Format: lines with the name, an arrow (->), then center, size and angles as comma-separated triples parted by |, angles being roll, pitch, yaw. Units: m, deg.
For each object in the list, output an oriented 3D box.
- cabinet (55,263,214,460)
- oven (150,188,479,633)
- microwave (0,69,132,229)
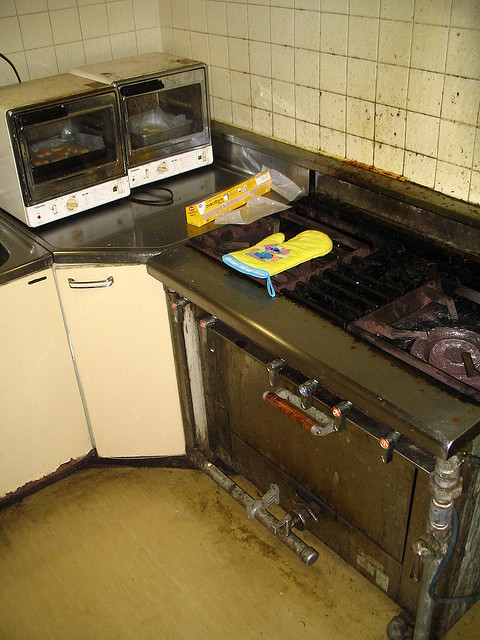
cabinet -> -0.295, 0.088, 1.648 | 0.341, 0.611, 0.418 | -19, 36, -29
oven -> 0.178, 0.210, 1.188 | 0.461, 0.781, 0.801 | -28, 49, -25
microwave -> -0.554, -0.527, 1.571 | 0.255, 0.377, 0.404 | 22, 39, 38
